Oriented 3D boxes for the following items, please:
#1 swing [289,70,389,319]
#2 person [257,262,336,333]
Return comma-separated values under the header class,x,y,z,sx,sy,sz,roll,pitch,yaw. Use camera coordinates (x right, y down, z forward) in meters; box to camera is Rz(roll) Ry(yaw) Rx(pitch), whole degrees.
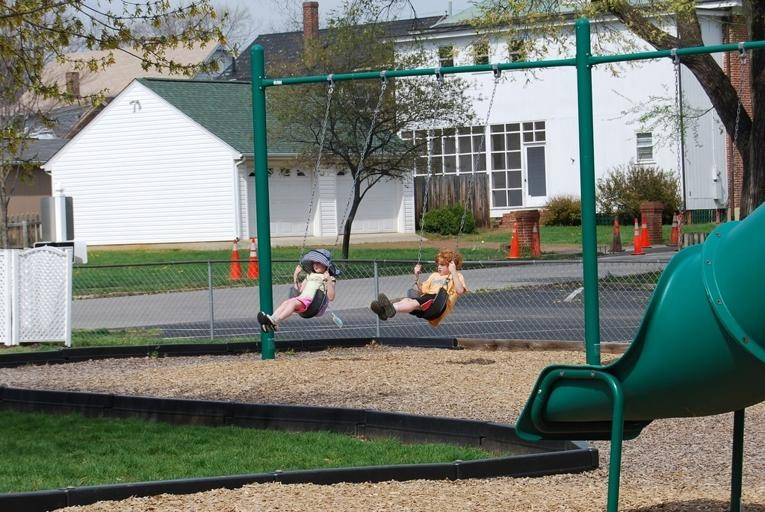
class,x,y,z,sx,sy,sz,roll,pitch,yaw
swing,-0.824,-1.055,22.379,1.032,4.369,0.987,9,-9,17
person,-1.263,0.746,21.854,0.766,1.606,0.664,32,-18,40
